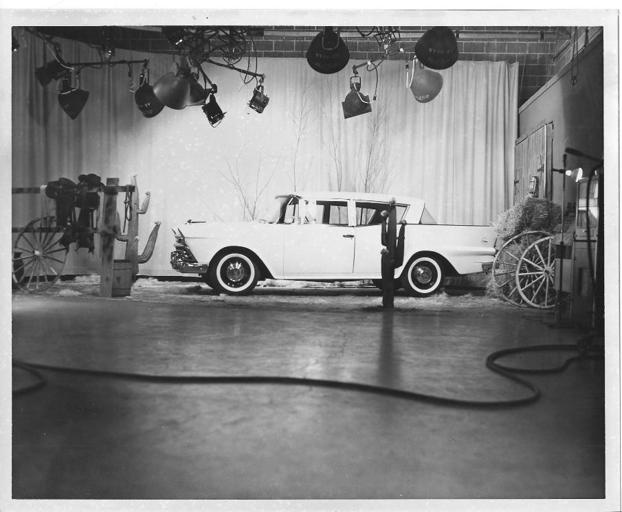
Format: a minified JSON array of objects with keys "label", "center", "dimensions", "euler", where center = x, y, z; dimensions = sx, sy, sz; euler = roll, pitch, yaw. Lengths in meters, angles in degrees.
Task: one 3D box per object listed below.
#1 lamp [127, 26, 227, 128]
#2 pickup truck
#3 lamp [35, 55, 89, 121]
[{"label":"lamp","center":[-0.782,-1.091,3.291],"dimensions":[0.296,0.255,0.386],"euler":[23,-47,-8]},{"label":"pickup truck","center":[0.145,0.182,3.534],"dimensions":[1.731,0.785,0.855],"euler":[1,-4,-2]},{"label":"lamp","center":[-1.486,-1.010,3.325],"dimensions":[0.279,0.303,0.255],"euler":[2,1,7]}]
